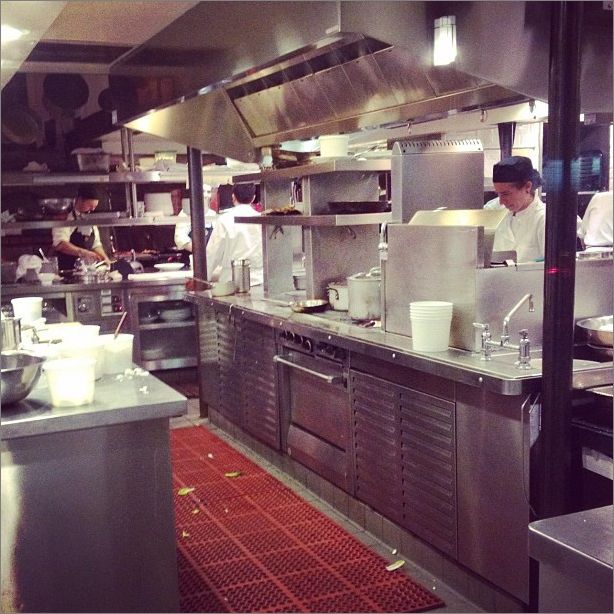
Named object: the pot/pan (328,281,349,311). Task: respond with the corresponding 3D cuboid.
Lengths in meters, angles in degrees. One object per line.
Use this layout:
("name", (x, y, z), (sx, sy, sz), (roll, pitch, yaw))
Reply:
("pot/pan", (0.209, -0.062, 3.773), (0.141, 0.146, 0.152), (1, 2, 5))

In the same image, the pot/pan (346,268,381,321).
("pot/pan", (0.311, -0.058, 3.483), (0.226, 0.280, 0.234), (0, 0, -30))

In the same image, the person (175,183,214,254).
("person", (-1.470, -0.982, 7.265), (0.630, 0.950, 0.277), (-2, 8, 7))

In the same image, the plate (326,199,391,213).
("plate", (0.344, -0.611, 3.696), (0.353, 0.095, 0.263), (4, 7, 42))

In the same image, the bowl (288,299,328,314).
("bowl", (0.031, -0.003, 3.875), (0.225, 0.072, 0.263), (3, 7, 39))

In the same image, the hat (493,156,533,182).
("hat", (1.295, -0.852, 3.763), (0.179, 0.126, 0.187), (6, 16, 33))

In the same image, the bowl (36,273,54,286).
("bowl", (-2.606, -0.269, 5.969), (0.132, 0.107, 0.141), (-1, -4, 0))

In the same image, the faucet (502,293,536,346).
("faucet", (0.869, 0.051, 2.458), (0.136, 0.206, 0.289), (1, 6, 21))

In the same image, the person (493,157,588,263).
("person", (1.451, -0.635, 4.070), (0.328, 0.674, 0.984), (1, 6, 18))

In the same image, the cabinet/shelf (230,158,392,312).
("cabinet/shelf", (0.049, -0.555, 4.312), (0.606, 0.931, 1.182), (-10, 14, -35))
